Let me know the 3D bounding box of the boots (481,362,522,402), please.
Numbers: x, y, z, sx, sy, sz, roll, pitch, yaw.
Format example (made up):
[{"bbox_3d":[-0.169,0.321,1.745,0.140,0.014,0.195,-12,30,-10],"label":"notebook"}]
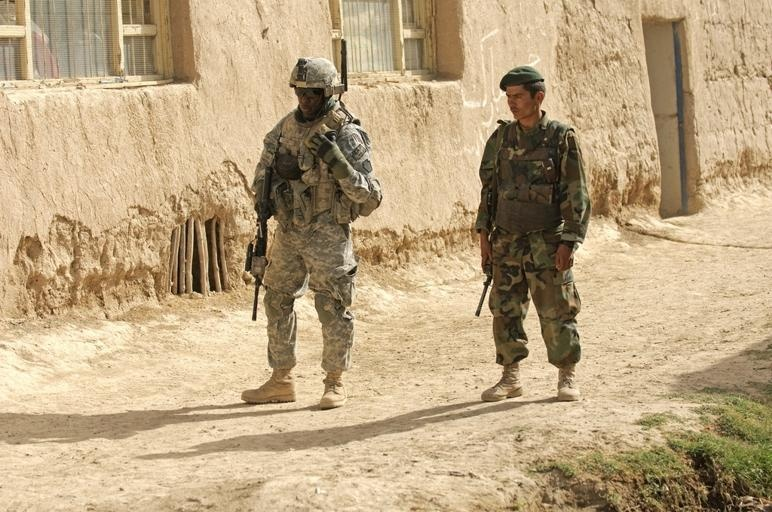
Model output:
[{"bbox_3d":[0.810,0.995,8.523,0.437,0.355,0.187,-1,0,-3],"label":"boots"}]

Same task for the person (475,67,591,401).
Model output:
[{"bbox_3d":[1.095,-0.137,8.400,0.853,2.501,0.748,0,16,9],"label":"person"}]

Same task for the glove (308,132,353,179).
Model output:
[{"bbox_3d":[-0.425,-0.751,8.413,0.333,0.343,0.169,0,16,9],"label":"glove"}]

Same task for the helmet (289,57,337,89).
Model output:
[{"bbox_3d":[-0.557,-1.383,8.489,0.293,0.161,0.285,-8,14,-33],"label":"helmet"}]
